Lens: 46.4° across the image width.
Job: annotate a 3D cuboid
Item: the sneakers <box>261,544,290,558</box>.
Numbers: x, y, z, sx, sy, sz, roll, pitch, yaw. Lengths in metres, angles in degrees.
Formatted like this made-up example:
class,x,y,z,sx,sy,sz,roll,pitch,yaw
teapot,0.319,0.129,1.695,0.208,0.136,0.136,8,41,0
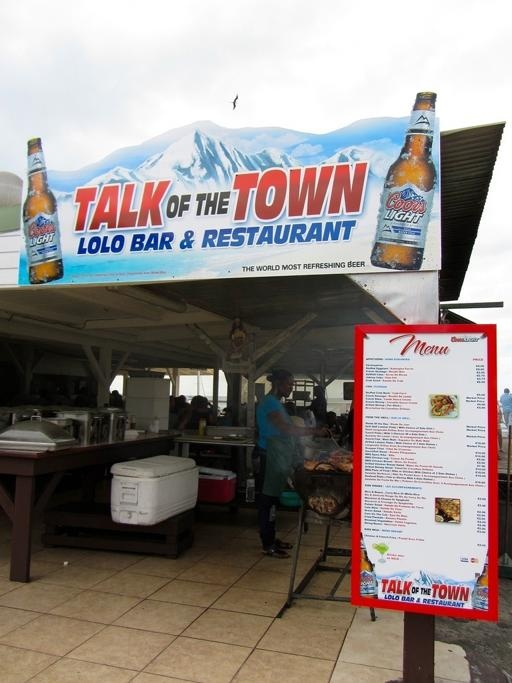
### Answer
class,x,y,z,sx,sy,sz,roll,pitch,yaw
sneakers,0.176,1.850,5.266,0.240,0.093,0.095,-4,-6,19

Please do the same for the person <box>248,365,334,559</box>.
class,x,y,z,sx,sy,sz,roll,pitch,yaw
person,0.240,1.072,5.259,0.467,1.659,0.754,2,-4,-1

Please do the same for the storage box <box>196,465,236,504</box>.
class,x,y,z,sx,sy,sz,roll,pitch,yaw
storage box,-0.431,1.579,6.675,0.487,0.291,0.461,2,-2,14

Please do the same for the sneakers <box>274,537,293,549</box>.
class,x,y,z,sx,sy,sz,roll,pitch,yaw
sneakers,0.260,1.846,5.450,0.239,0.087,0.078,0,-1,-21
